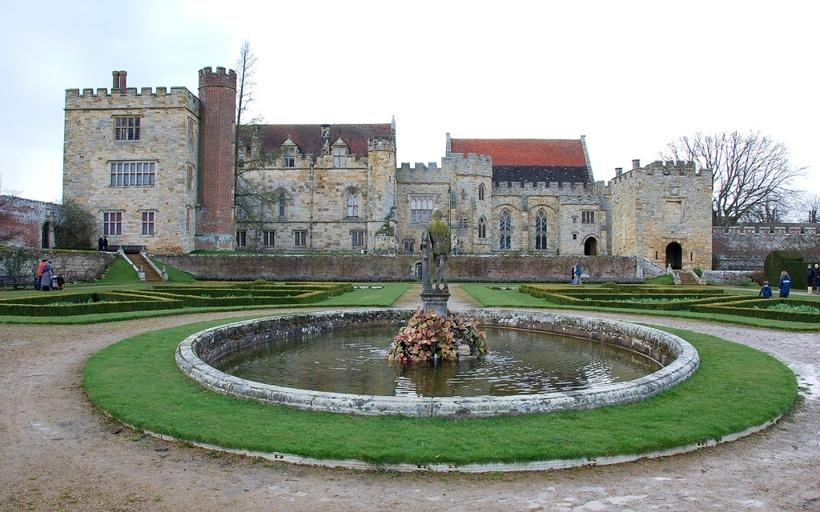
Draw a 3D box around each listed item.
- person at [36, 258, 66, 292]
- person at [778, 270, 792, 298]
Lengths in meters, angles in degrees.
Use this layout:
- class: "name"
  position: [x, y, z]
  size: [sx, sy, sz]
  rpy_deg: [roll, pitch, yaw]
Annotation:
- class: "person"
  position: [-15.751, 0.863, 31.374]
  size: [0.874, 1.256, 1.906]
  rpy_deg: [1, 1, -18]
- class: "person"
  position: [15.139, 1.161, 28.980]
  size: [0.322, 0.920, 0.959]
  rpy_deg: [2, 1, 24]
